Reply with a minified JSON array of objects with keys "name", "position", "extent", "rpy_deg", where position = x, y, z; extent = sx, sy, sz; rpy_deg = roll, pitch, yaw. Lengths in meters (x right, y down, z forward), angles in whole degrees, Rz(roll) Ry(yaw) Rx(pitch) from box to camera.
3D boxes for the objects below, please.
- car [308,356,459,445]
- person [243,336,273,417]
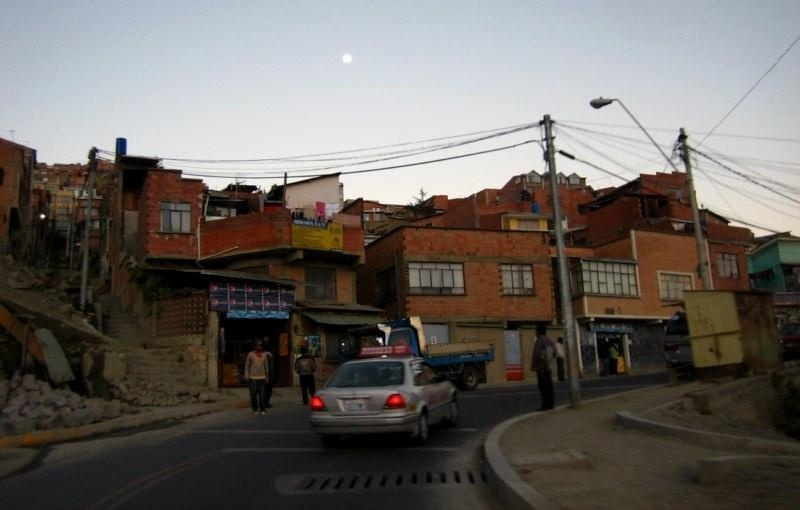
[{"name":"car","position":[-0.234,3.821,16.466],"extent":[3.809,2.234,1.991],"rpy_deg":[6,-14,-43]},{"name":"person","position":[-5.161,4.451,22.778],"extent":[0.846,2.586,1.162],"rpy_deg":[-1,-11,-13]}]
